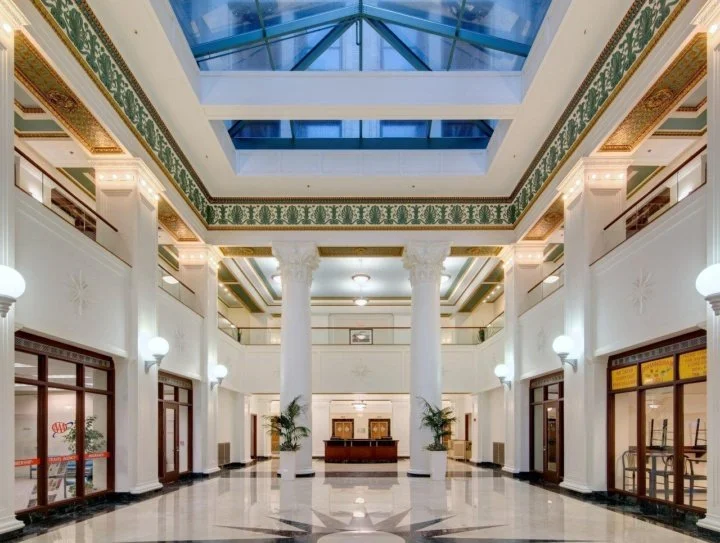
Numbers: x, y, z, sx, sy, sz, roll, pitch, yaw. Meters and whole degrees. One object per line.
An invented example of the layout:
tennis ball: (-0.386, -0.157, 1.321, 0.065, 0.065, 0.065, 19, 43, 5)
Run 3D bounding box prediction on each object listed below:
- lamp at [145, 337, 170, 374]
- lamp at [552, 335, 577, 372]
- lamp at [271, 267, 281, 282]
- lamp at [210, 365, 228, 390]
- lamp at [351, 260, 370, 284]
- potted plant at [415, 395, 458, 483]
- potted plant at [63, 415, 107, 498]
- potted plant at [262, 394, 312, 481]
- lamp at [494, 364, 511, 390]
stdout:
lamp: (-4.730, 1.942, 13.514, 0.447, 0.876, 0.574, 0, -12, 1)
lamp: (4.872, 1.918, 13.733, 0.532, 0.891, 0.465, 0, -3, 27)
lamp: (-3.660, 0.072, 25.015, 0.162, 0.680, 0.623, 0, 0, -32)
lamp: (-4.584, 3.387, 18.610, 0.406, 0.731, 0.477, -1, -12, 3)
lamp: (0.028, -0.096, 25.959, 0.802, 1.295, 0.875, 1, -21, 2)
potted plant: (2.274, 4.905, 17.301, 0.860, 2.331, 1.161, 2, -12, -10)
potted plant: (-5.675, 3.896, 11.820, 0.795, 1.540, 0.721, -11, -18, -8)
potted plant: (-2.097, 4.919, 17.386, 1.135, 2.359, 1.207, 1, -11, -3)
lamp: (4.598, 3.349, 18.597, 0.428, 0.806, 0.594, 0, -12, 1)
